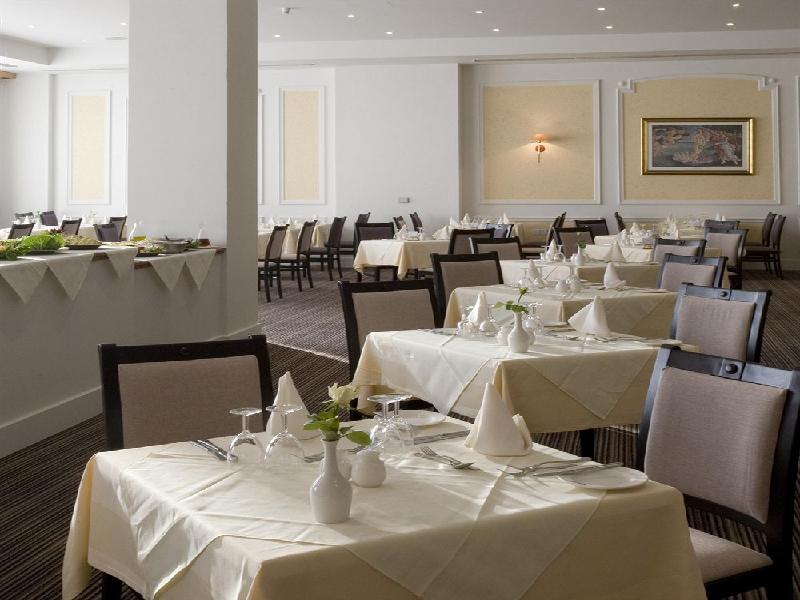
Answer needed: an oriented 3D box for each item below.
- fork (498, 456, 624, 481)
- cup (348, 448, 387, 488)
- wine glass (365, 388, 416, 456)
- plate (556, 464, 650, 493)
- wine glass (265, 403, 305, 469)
[{"bbox_3d":[0.386,0.375,1.270,0.268,0.022,0.088,-3,7,-15],"label":"fork"},{"bbox_3d":[-0.067,0.352,1.191,0.072,0.071,0.073,0,-4,0],"label":"cup"},{"bbox_3d":[-0.019,0.314,1.446,0.146,0.222,0.121,-1,-2,1],"label":"wine glass"},{"bbox_3d":[0.448,0.385,1.197,0.178,0.021,0.103,-5,9,-20],"label":"plate"},{"bbox_3d":[-0.286,0.311,1.368,0.089,0.165,0.248,-4,9,-13],"label":"wine glass"}]
